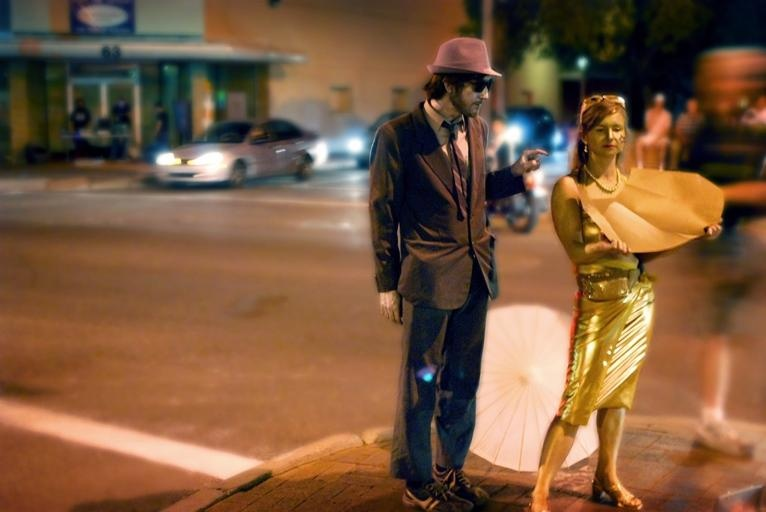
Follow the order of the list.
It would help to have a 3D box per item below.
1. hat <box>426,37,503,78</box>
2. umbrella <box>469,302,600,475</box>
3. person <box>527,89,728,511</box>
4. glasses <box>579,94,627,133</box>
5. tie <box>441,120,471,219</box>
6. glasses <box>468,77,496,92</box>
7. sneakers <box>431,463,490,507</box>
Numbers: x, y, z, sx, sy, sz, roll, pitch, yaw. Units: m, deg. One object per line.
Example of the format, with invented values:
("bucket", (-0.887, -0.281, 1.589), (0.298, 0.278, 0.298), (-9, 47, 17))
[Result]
("hat", (0.482, -1.215, 5.269), (0.319, 0.139, 0.282), (2, 10, 22))
("umbrella", (1.041, 0.905, 6.122), (0.942, 1.044, 0.675), (8, -4, 0))
("person", (1.356, 0.299, 5.260), (1.023, 2.502, 0.589), (-3, 13, -8))
("glasses", (1.330, -0.873, 5.260), (0.218, 0.171, 0.232), (-4, 1, 5))
("tie", (0.481, -0.547, 5.315), (0.141, 0.567, 0.178), (-11, 16, -36))
("glasses", (0.585, -1.067, 5.283), (0.109, 0.057, 0.115), (-7, 19, -27))
("sneakers", (0.507, 1.462, 5.473), (0.392, 0.183, 0.171), (25, 34, 10))
